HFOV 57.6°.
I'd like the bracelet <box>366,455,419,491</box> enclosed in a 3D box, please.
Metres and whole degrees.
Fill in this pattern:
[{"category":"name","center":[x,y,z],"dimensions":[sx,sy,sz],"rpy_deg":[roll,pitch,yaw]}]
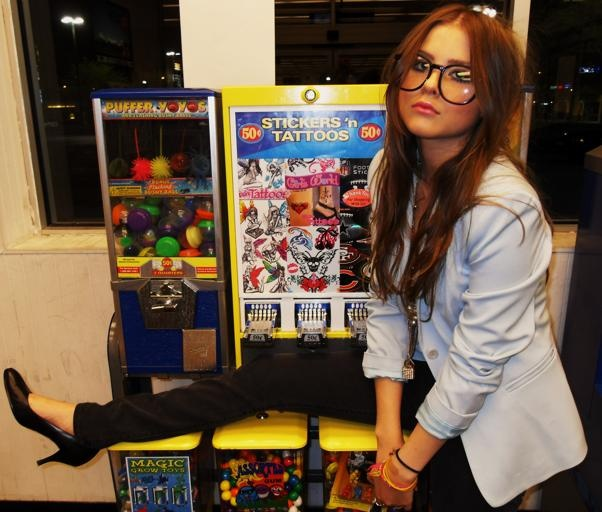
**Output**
[{"category":"bracelet","center":[0.266,0.643,1.586],"dimensions":[0.118,0.041,0.085],"rpy_deg":[21,-14,25]}]

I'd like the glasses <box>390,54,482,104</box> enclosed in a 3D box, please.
[{"category":"glasses","center":[0.349,-0.467,1.450],"dimensions":[0.203,0.142,0.065],"rpy_deg":[8,16,40]}]

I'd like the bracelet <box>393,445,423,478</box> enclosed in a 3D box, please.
[{"category":"bracelet","center":[0.297,0.595,1.539],"dimensions":[0.021,0.083,0.083],"rpy_deg":[-40,9,-7]}]

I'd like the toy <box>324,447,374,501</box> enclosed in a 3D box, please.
[{"category":"toy","center":[0.182,0.783,2.014],"dimensions":[0.234,0.200,0.163],"rpy_deg":[1,4,9]}]
